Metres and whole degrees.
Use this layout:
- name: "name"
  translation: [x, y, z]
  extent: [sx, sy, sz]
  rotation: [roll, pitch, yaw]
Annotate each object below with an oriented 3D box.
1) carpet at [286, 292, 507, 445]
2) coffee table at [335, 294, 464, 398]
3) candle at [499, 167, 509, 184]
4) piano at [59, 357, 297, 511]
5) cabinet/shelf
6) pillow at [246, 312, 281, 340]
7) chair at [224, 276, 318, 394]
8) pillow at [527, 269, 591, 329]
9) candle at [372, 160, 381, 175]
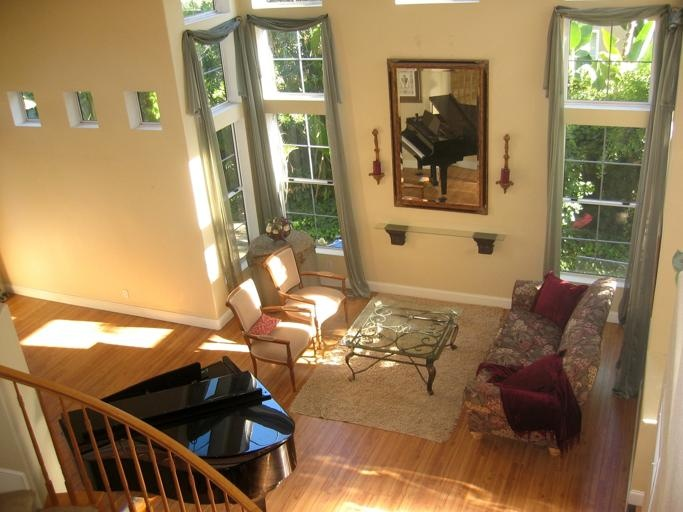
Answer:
- name: "carpet"
  translation: [0.574, 1.628, 6.880]
  extent: [1.679, 0.107, 2.281]
  rotation: [7, 30, 24]
- name: "coffee table"
  translation: [0.744, 0.981, 6.914]
  extent: [1.176, 0.629, 1.223]
  rotation: [11, 34, 23]
- name: "candle"
  translation: [2.274, -1.138, 7.495]
  extent: [0.127, 0.217, 0.120]
  rotation: [0, 19, 15]
- name: "piano"
  translation: [-1.388, 1.504, 5.029]
  extent: [1.679, 0.915, 1.534]
  rotation: [25, 33, 38]
- name: "cabinet/shelf"
  translation: [-0.985, 0.158, 8.875]
  extent: [1.165, 1.158, 1.070]
  rotation: [-22, 29, -29]
- name: "pillow"
  translation: [-1.056, 0.974, 7.250]
  extent: [0.232, 0.115, 0.389]
  rotation: [24, 38, 7]
- name: "chair"
  translation: [-0.918, 1.032, 7.278]
  extent: [0.919, 1.242, 0.909]
  rotation: [1, 27, 10]
- name: "pillow"
  translation: [2.831, 0.578, 6.977]
  extent: [0.259, 0.657, 0.621]
  rotation: [17, 11, -38]
- name: "candle"
  translation: [0.540, -1.342, 8.095]
  extent: [0.134, 0.209, 0.095]
  rotation: [-6, 18, -4]
